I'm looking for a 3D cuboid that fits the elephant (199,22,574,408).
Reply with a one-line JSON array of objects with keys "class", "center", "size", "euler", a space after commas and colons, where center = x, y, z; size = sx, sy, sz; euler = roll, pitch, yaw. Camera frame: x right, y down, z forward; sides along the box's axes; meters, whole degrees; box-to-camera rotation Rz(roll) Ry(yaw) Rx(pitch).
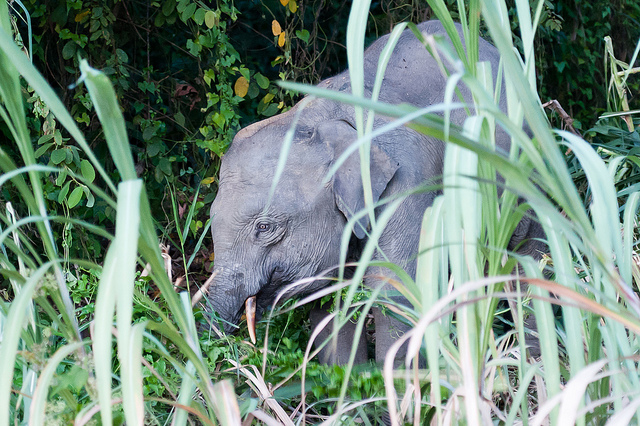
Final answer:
[{"class": "elephant", "center": [0.132, 0.084, 1.840], "size": [1.181, 0.950, 0.539], "euler": [-16, 19, -24]}]
